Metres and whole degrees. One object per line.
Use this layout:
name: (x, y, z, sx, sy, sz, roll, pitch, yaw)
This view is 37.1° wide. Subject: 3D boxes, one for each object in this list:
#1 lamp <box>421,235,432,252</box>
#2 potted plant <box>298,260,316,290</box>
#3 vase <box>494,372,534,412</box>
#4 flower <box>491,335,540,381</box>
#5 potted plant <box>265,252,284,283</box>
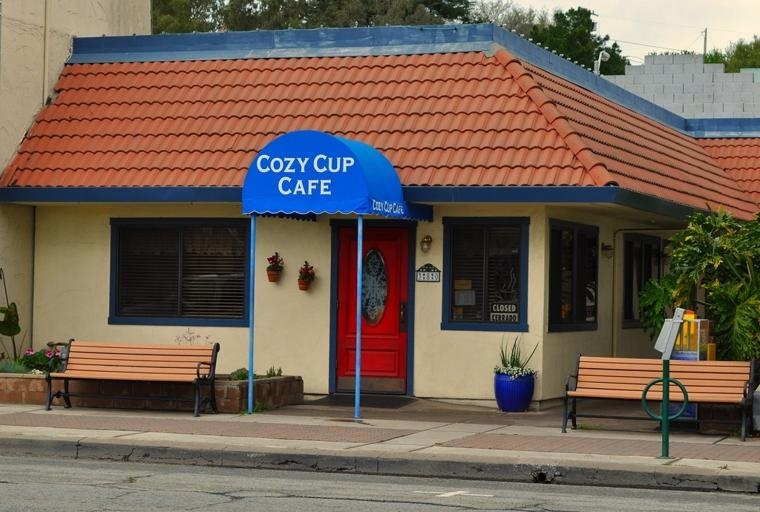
lamp: (0.967, -0.258, 23.191, 0.273, 0.449, 0.225, 2, -3, -11)
potted plant: (-1.629, 0.414, 23.871, 0.442, 0.715, 0.449, 3, -2, -12)
vase: (2.637, 2.677, 22.287, 0.702, 0.603, 0.732, 0, -6, 8)
flower: (2.707, 2.016, 22.479, 0.725, 0.808, 0.794, 1, -3, 26)
potted plant: (-2.214, 0.250, 23.951, 0.353, 0.660, 0.203, 0, -2, -1)
